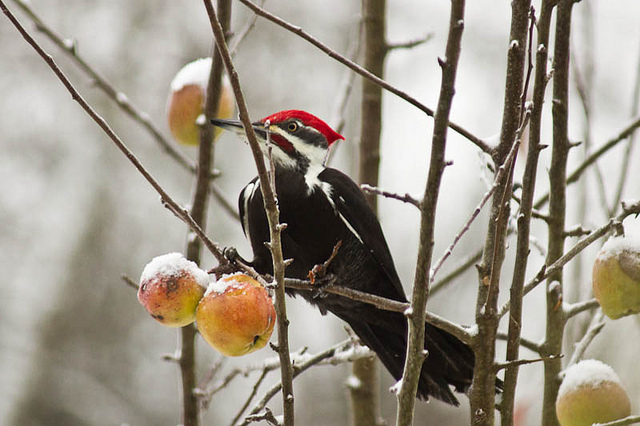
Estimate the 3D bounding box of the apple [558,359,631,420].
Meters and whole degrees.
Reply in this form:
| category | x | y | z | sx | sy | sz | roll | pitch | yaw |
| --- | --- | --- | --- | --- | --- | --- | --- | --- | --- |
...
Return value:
| category | x | y | z | sx | sy | sz | roll | pitch | yaw |
| --- | --- | --- | --- | --- | --- | --- | --- | --- | --- |
| apple | 1.845 | 1.196 | 5.930 | 0.361 | 0.410 | 0.382 | 6 | -8 | -18 |
